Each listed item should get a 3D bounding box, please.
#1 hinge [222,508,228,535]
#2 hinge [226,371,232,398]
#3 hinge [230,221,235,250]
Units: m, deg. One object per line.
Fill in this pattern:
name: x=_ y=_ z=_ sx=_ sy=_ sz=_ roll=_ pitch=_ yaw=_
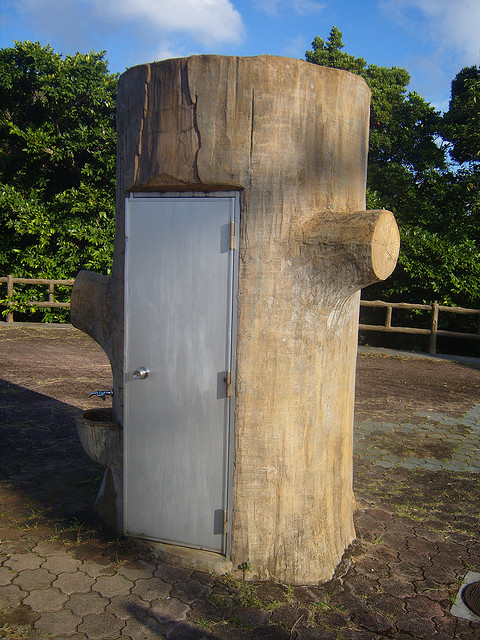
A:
hinge: x=-0.076 y=1.051 z=3.550 sx=0.031 sy=0.140 sz=0.008 roll=5 pitch=6 yaw=18
hinge: x=-0.055 y=0.331 z=3.494 sx=0.030 sy=0.138 sz=0.010 roll=3 pitch=6 yaw=-9
hinge: x=-0.039 y=-0.428 z=3.444 sx=0.030 sy=0.141 sz=0.017 roll=3 pitch=6 yaw=-3
